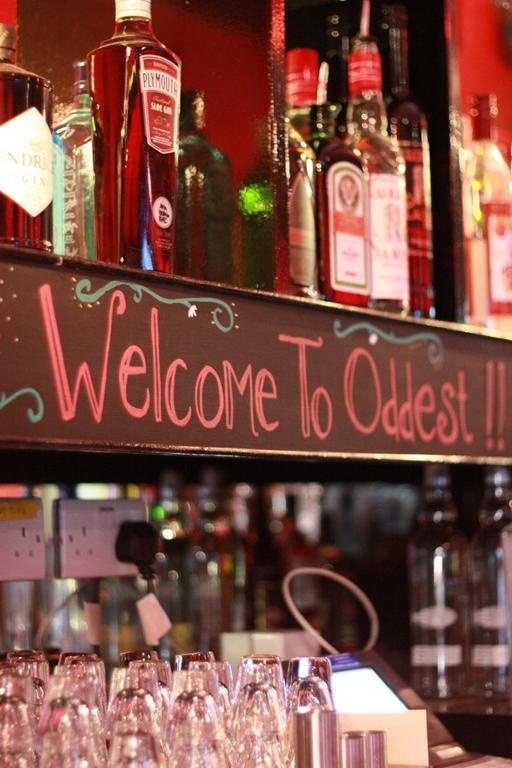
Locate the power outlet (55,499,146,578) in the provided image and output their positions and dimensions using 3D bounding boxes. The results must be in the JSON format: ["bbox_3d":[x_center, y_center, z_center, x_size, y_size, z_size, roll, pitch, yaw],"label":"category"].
[{"bbox_3d":[-0.183,0.182,1.230,0.018,0.095,0.122,-6,-8,43],"label":"power outlet"}]
